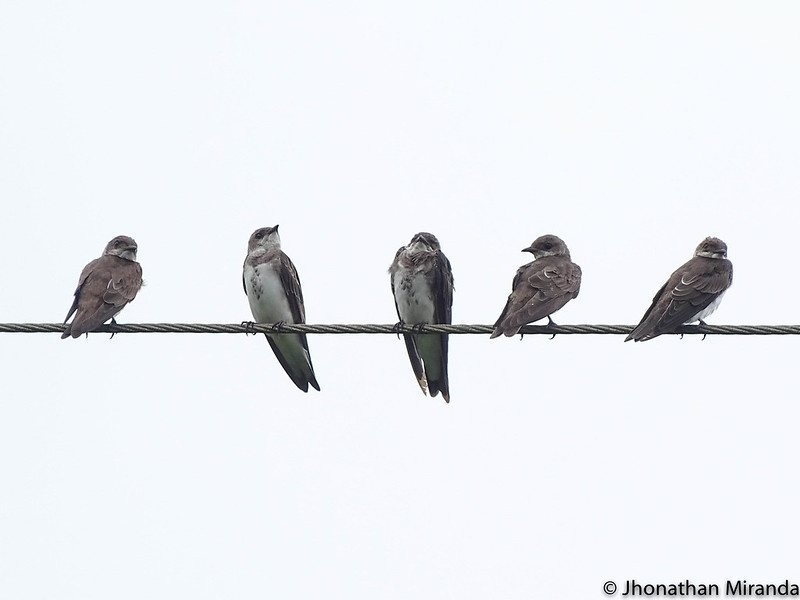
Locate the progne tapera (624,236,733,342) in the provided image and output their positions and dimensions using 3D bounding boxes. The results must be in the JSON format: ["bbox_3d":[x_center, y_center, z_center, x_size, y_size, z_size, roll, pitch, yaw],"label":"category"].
[{"bbox_3d":[2.989,-0.116,12.611,1.813,1.001,0.617,-12,9,-39],"label":"progne tapera"}]

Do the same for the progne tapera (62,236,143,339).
[{"bbox_3d":[-3.212,-0.127,12.984,0.622,1.637,1.009,9,-75,9],"label":"progne tapera"}]

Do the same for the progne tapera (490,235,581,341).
[{"bbox_3d":[1.539,-0.170,12.835,0.679,1.802,0.968,-8,-35,23],"label":"progne tapera"}]
